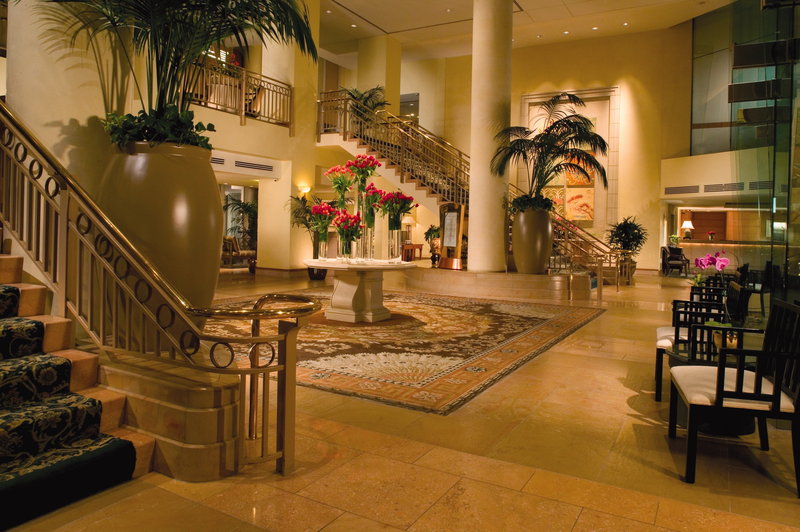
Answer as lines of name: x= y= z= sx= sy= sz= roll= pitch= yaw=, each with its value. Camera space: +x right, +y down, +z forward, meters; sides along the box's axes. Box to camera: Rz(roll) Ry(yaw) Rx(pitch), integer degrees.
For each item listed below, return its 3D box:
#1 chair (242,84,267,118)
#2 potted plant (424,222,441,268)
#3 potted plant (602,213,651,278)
chair: x=-3.546 y=-4.098 z=13.273 sx=0.620 sy=0.761 sz=0.529 roll=0 pitch=18 yaw=-18
potted plant: x=0.933 y=-0.542 z=14.098 sx=0.544 sy=0.946 sz=0.558 roll=2 pitch=0 yaw=23
potted plant: x=6.695 y=-0.575 z=15.593 sx=1.009 sy=1.340 sz=0.938 roll=-2 pitch=3 yaw=-34
